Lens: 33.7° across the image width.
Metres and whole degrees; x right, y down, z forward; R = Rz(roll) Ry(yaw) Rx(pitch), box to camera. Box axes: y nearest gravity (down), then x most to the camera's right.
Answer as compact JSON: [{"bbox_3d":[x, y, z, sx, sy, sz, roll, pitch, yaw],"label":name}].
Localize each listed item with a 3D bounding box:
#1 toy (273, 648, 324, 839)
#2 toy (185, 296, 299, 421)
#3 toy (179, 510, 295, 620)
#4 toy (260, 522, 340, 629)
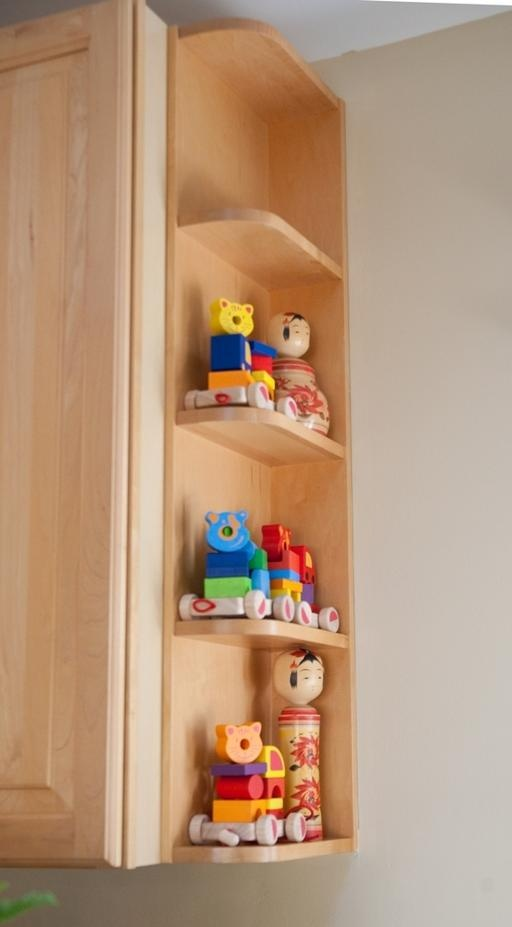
[{"bbox_3d":[0.059,0.384,1.183,0.060,0.241,0.064,-12,-24,32],"label":"toy"},{"bbox_3d":[-0.018,-0.137,1.145,0.114,0.159,0.151,-2,-8,23],"label":"toy"},{"bbox_3d":[-0.024,0.135,1.082,0.091,0.145,0.132,-7,-15,22],"label":"toy"},{"bbox_3d":[0.050,0.168,1.190,0.069,0.137,0.139,-10,-21,34],"label":"toy"}]
